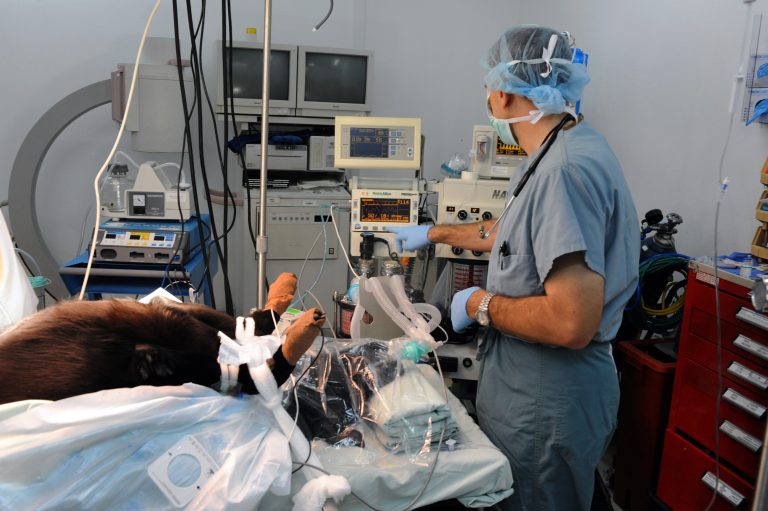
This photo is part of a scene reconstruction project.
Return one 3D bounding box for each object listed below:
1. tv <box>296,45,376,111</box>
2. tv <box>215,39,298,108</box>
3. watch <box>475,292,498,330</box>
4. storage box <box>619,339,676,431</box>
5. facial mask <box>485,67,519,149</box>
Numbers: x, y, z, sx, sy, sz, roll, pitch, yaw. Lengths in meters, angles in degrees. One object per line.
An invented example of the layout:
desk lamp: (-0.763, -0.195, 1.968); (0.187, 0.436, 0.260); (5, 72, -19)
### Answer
tv: (-0.372, -1.267, 4.349); (0.535, 0.463, 0.225); (0, 10, -21)
tv: (-0.894, -1.251, 4.224); (0.566, 0.509, 1.192); (-4, 12, -15)
watch: (0.374, 0.219, 2.256); (0.065, 0.122, 0.114); (10, 16, 34)
storage box: (1.246, 0.631, 3.041); (0.317, 0.524, 0.338); (2, 9, 13)
facial mask: (0.468, -0.564, 2.391); (0.091, 0.354, 0.099); (6, 21, 19)
